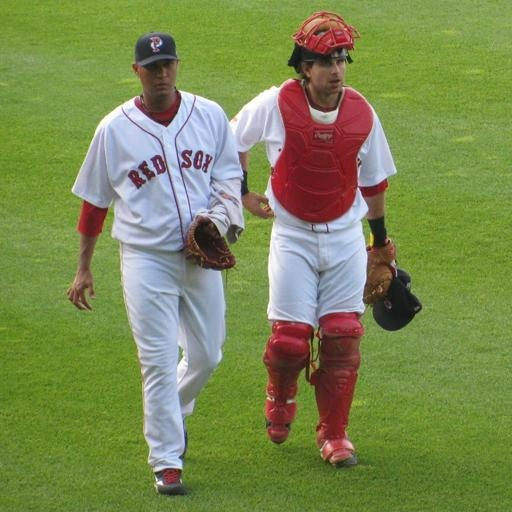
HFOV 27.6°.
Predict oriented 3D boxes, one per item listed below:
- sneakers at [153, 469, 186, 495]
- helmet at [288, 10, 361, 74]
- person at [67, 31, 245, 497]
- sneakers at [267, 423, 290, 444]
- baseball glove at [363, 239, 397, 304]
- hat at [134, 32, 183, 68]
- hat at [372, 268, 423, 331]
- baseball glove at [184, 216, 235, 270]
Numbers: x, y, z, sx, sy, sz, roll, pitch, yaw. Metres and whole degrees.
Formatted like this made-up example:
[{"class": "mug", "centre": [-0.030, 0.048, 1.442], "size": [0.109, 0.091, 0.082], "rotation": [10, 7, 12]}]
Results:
[{"class": "sneakers", "centre": [-0.472, 1.236, 5.634], "size": [0.082, 0.103, 0.230], "rotation": [1, -2, -18]}, {"class": "helmet", "centre": [0.391, -1.203, 5.981], "size": [0.298, 0.357, 0.330], "rotation": [-11, 28, -27]}, {"class": "person", "centre": [-0.466, -0.067, 5.795], "size": [0.953, 2.180, 0.935], "rotation": [-20, 32, -40]}, {"class": "sneakers", "centre": [0.128, 1.052, 6.127], "size": [0.094, 0.133, 0.050], "rotation": [4, 2, 2]}, {"class": "baseball glove", "centre": [0.745, 0.104, 6.416], "size": [0.128, 0.328, 0.249], "rotation": [9, -7, -4]}, {"class": "hat", "centre": [-0.561, -1.124, 5.673], "size": [0.171, 0.132, 0.230], "rotation": [-4, 17, -10]}, {"class": "hat", "centre": [0.881, 0.314, 6.525], "size": [0.344, 0.364, 0.376], "rotation": [-11, -32, 7]}, {"class": "baseball glove", "centre": [-0.272, -0.046, 5.679], "size": [0.240, 0.315, 0.143], "rotation": [7, -25, -42]}]
